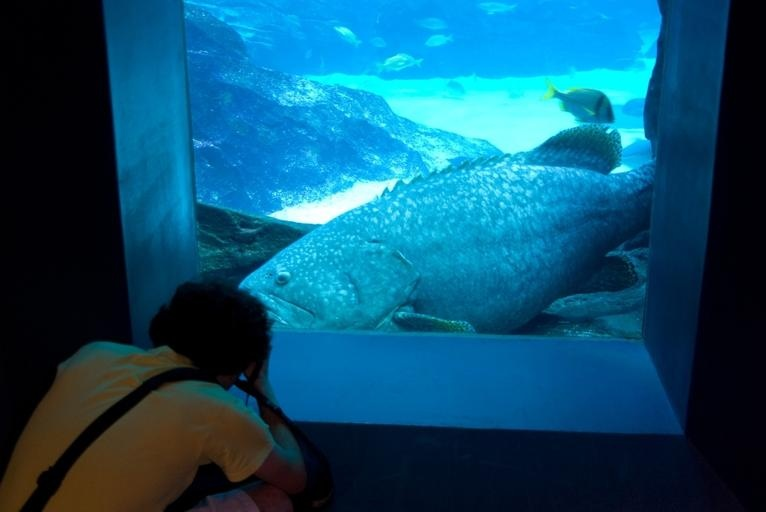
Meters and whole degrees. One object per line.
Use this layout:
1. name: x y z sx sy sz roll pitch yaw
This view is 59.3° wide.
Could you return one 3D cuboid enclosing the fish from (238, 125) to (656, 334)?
1. fish: 0.550 -0.086 4.598 2.648 1.420 0.606 -9 16 -20
